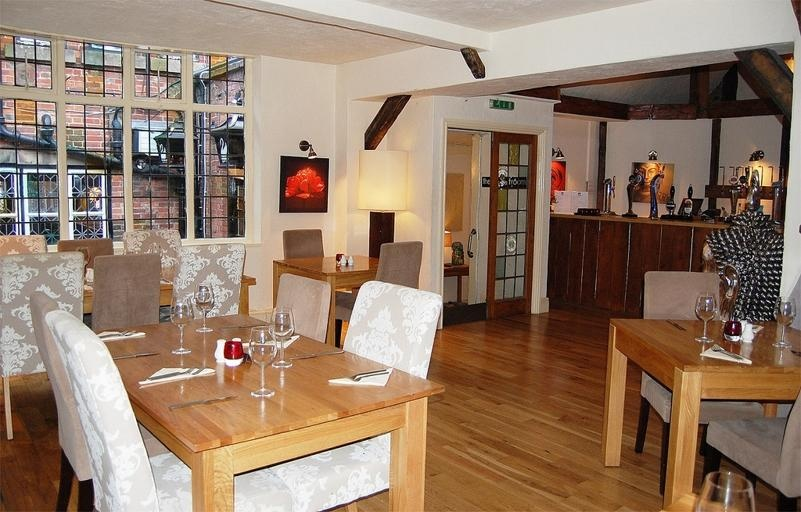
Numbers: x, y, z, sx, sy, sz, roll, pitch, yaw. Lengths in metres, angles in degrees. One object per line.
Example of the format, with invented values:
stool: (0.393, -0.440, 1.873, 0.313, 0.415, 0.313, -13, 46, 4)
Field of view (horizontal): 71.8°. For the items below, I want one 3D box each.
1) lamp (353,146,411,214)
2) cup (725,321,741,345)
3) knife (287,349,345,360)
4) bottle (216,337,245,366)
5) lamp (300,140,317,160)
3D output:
lamp: (-0.238, -1.173, 7.728, 0.808, 0.905, 0.813, -3, -8, 12)
cup: (2.217, 0.519, 3.686, 0.124, 0.126, 0.128, 1, -2, 0)
knife: (-0.501, 0.591, 3.300, 0.368, 0.030, 0.096, -4, 7, -23)
bottle: (-0.996, 0.549, 3.222, 0.148, 0.128, 0.148, 4, 2, -4)
lamp: (-1.270, -1.507, 7.777, 0.258, 0.262, 0.247, -3, 11, -21)
